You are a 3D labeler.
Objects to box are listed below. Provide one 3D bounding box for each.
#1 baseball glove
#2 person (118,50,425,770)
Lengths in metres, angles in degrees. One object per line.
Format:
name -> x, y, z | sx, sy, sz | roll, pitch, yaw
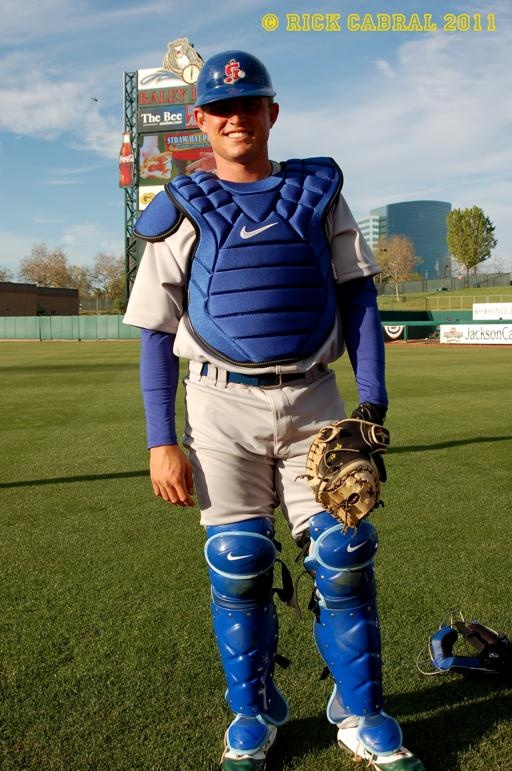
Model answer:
baseball glove -> 0.243, 0.243, 1.594 | 0.226, 0.298, 0.211 | -1, 4, -2
person -> 0.017, 0.022, 1.740 | 0.787, 1.990, 0.545 | -1, 3, -2
